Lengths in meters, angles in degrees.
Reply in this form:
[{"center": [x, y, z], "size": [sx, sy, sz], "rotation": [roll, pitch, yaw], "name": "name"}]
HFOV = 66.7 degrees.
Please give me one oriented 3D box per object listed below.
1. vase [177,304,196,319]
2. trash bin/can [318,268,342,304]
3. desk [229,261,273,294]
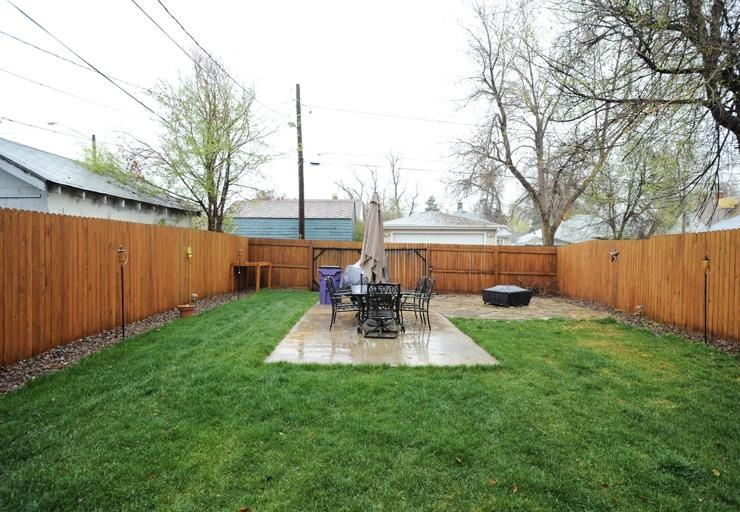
[{"center": [-4.332, 1.282, 13.063], "size": [0.344, 0.239, 0.496], "rotation": [-1, 7, -15], "name": "vase"}, {"center": [-1.208, 0.811, 16.099], "size": [0.713, 1.435, 0.866], "rotation": [0, -3, -5], "name": "trash bin/can"}, {"center": [-3.939, 0.696, 18.529], "size": [0.833, 0.950, 0.918], "rotation": [-1, -1, 16], "name": "desk"}]
